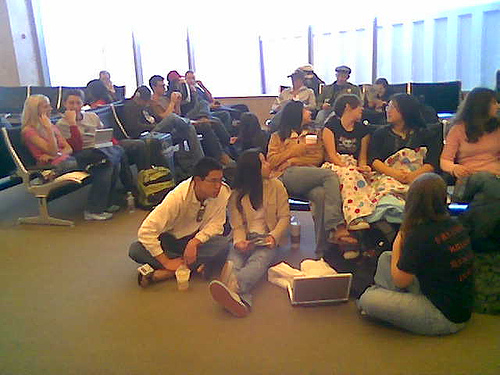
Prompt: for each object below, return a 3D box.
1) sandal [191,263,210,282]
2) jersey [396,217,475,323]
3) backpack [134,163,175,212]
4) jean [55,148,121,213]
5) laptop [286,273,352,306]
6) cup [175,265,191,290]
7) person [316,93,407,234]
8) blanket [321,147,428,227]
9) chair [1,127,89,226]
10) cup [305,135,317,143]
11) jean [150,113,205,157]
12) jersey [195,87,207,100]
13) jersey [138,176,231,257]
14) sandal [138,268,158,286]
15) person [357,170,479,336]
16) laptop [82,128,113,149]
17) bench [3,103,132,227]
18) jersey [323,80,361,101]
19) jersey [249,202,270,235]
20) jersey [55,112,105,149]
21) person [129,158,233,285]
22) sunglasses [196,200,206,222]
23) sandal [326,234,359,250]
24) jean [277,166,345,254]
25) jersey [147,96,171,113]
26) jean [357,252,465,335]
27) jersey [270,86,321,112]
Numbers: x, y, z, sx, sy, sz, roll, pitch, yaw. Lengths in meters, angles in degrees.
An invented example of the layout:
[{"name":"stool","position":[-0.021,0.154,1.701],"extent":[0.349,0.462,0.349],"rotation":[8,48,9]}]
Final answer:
[{"name":"sandal","position":[-0.409,0.681,3.188],"extent":[0.146,0.131,0.119],"rotation":[0,0,9]},{"name":"jersey","position":[1.264,0.515,2.644],"extent":[0.458,0.669,0.670],"rotation":[-1,-2,33]},{"name":"backpack","position":[-1.232,-0.016,4.739],"extent":[0.496,0.531,0.391],"rotation":[25,27,38]},{"name":"jean","position":[-1.760,-0.083,4.491],"extent":[0.366,0.702,0.799],"rotation":[1,18,14]},{"name":"laptop","position":[0.491,0.707,2.658],"extent":[0.282,0.185,0.294],"rotation":[-2,3,0]},{"name":"cup","position":[-0.518,0.697,3.105],"extent":[0.141,0.161,0.143],"rotation":[1,6,0]},{"name":"person","position":[0.860,-0.316,3.522],"extent":[0.547,0.886,1.372],"rotation":[-7,35,-1]},{"name":"blanket","position":[1.022,-0.041,3.367],"extent":[0.242,0.774,0.686],"rotation":[9,-30,-10]},{"name":"chair","position":[-2.320,-0.211,4.744],"extent":[0.957,1.361,0.987],"rotation":[1,9,-2]},{"name":"cup","position":[0.561,-0.452,3.626],"extent":[0.109,0.071,0.085],"rotation":[-1,17,6]},{"name":"jean","position":[-1.013,-0.635,5.427],"extent":[0.497,0.381,0.885],"rotation":[20,6,-8]},{"name":"jersey","position":[-0.850,-1.615,6.755],"extent":[0.159,0.216,0.337],"rotation":[-3,17,-1]},{"name":"jersey","position":[-0.535,0.257,3.319],"extent":[0.636,0.603,0.371],"rotation":[3,47,-48]},{"name":"sandal","position":[-0.816,0.691,3.079],"extent":[0.083,0.112,0.038],"rotation":[-7,29,-26]},{"name":"person","position":[1.100,0.428,2.510],"extent":[0.770,0.996,0.323],"rotation":[2,18,15]},{"name":"laptop","position":[-1.754,-0.585,4.521],"extent":[0.214,0.212,0.301],"rotation":[19,17,20]},{"name":"bench","position":[-2.071,-0.203,4.435],"extent":[0.557,0.714,1.345],"rotation":[4,12,1]},{"name":"jersey","position":[1.437,-1.565,6.260],"extent":[0.515,0.415,0.278],"rotation":[5,3,19]},{"name":"jersey","position":[0.066,0.258,3.315],"extent":[0.167,0.263,0.090],"rotation":[-3,17,1]},{"name":"jersey","position":[-1.941,-0.662,4.526],"extent":[0.558,0.406,0.300],"rotation":[-17,29,-24]},{"name":"person","position":[-0.527,0.253,3.138],"extent":[0.891,0.930,0.368],"rotation":[-10,18,-21]},{"name":"sunglasses","position":[-0.412,0.201,3.254],"extent":[0.042,0.142,0.099],"rotation":[10,14,19]},{"name":"sandal","position":[0.768,0.454,3.232],"extent":[0.201,0.061,0.145],"rotation":[12,-2,-9]},{"name":"jean","position":[0.547,0.198,3.739],"extent":[0.623,1.016,0.745],"rotation":[-6,3,7]},{"name":"jersey","position":[-1.350,-1.211,5.734],"extent":[0.117,0.210,0.225],"rotation":[-29,6,38]},{"name":"jean","position":[1.150,0.744,2.802],"extent":[0.798,0.264,0.741],"rotation":[17,7,-42]},{"name":"jersey","position":[0.744,-1.449,6.389],"extent":[0.789,0.371,0.493],"rotation":[0,18,9]}]
